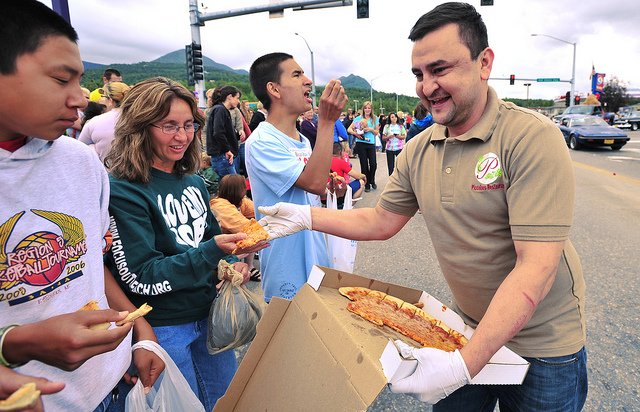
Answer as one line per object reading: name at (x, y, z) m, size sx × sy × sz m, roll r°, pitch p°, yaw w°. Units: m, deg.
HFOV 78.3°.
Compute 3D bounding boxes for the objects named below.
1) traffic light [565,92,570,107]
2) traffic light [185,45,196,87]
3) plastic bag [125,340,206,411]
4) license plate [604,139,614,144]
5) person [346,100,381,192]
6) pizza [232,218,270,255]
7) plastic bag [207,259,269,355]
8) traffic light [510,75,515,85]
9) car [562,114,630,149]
traffic light at (23.651, -10.196, 37.537) m, size 0.328 × 1.224 × 1.088 m, roll 5°, pitch 17°, yaw 30°
traffic light at (-4.112, -4.454, 12.452) m, size 0.216 × 1.078 × 1.036 m, roll -8°, pitch 15°, yaw -17°
plastic bag at (-0.955, 1.035, 2.358) m, size 0.412 × 0.454 × 0.213 m, roll -10°, pitch 16°, yaw -24°
license plate at (12.259, -2.743, 16.683) m, size 0.305 × 0.173 × 0.211 m, roll 3°, pitch -2°, yaw 10°
person at (1.197, -1.621, 10.488) m, size 0.832 × 2.301 × 0.663 m, roll -2°, pitch 6°, yaw 1°
pizza at (-0.461, 0.211, 2.581) m, size 0.063 × 0.209 × 0.268 m, roll -45°, pitch 3°, yaw 47°
plastic bag at (-0.612, 0.620, 2.848) m, size 0.513 × 0.333 × 0.635 m, roll -17°, pitch 23°, yaw -22°
traffic light at (17.434, -11.414, 35.724) m, size 0.309 × 0.740 × 1.309 m, roll 4°, pitch 16°, yaw 25°
car at (12.085, -3.290, 17.897) m, size 1.524 × 0.990 × 3.044 m, roll -4°, pitch 12°, yaw 5°
